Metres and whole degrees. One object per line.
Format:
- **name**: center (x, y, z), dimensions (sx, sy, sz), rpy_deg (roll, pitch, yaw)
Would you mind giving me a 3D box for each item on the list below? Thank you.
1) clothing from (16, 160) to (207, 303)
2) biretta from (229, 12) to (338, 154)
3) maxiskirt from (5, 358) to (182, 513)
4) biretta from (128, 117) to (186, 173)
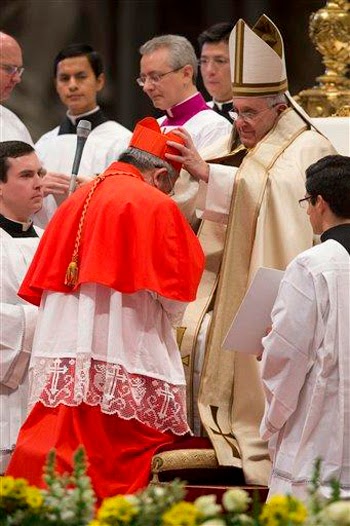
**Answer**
- **clothing**: center (-0.194, -0.128, 2.646), dimensions (0.763, 0.572, 0.568), rpy_deg (-1, -26, 22)
- **biretta**: center (0.520, -1.048, 3.478), dimensions (0.562, 0.522, 0.475), rpy_deg (-2, -5, -42)
- **maxiskirt**: center (-0.309, 0.669, 2.315), dimensions (0.648, 0.303, 0.367), rpy_deg (-2, 19, -1)
- **biretta**: center (-0.084, -0.567, 2.743), dimensions (0.151, 0.108, 0.184), rpy_deg (20, 16, -10)
